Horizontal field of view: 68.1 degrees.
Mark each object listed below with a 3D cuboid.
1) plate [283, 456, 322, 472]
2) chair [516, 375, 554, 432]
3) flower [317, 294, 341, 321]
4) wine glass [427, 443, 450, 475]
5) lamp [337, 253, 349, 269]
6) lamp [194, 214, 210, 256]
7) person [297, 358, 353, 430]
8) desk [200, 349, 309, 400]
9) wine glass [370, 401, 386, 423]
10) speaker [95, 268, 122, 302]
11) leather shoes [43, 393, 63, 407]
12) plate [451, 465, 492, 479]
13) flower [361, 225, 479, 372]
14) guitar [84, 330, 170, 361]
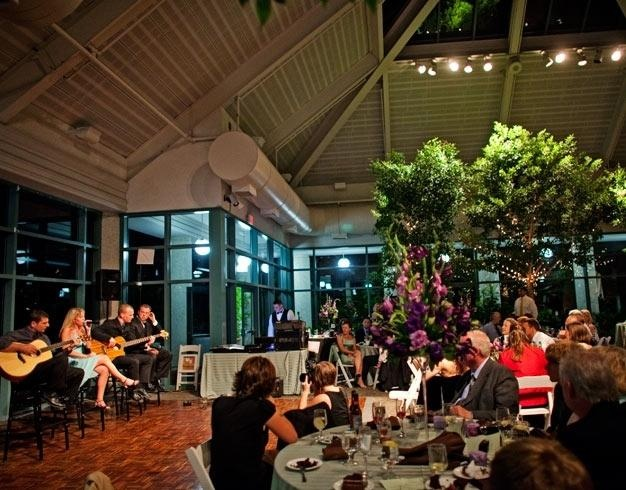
[{"bbox_3d":[-0.063,1.273,2.722,0.214,0.053,0.205,-13,-15,40],"label":"plate"},{"bbox_3d":[2.182,1.589,4.590,0.387,0.551,0.381,0,-9,25],"label":"chair"},{"bbox_3d":[0.502,2.046,14.890,0.396,0.650,0.753,-6,19,-8],"label":"flower"},{"bbox_3d":[0.665,1.139,2.488,0.093,0.159,0.174,-5,-11,12],"label":"wine glass"},{"bbox_3d":[1.087,0.614,16.653,0.365,0.506,0.374,-1,-3,19],"label":"lamp"},{"bbox_3d":[-2.503,-0.222,10.378,0.427,0.940,0.170,-10,-13,34],"label":"lamp"},{"bbox_3d":[0.102,1.579,4.497,0.525,0.828,0.473,2,-8,-3],"label":"person"},{"bbox_3d":[-1.353,2.313,9.589,1.920,0.680,2.051,1,6,41],"label":"desk"},{"bbox_3d":[0.423,1.104,3.069,0.103,0.124,0.107,-3,-9,4],"label":"wine glass"},{"bbox_3d":[-4.350,0.949,9.943,0.464,0.796,0.465,-2,-37,-22],"label":"speaker"},{"bbox_3d":[-3.525,2.122,6.349,0.246,0.210,0.433,2,-13,-24],"label":"leather shoes"},{"bbox_3d":[0.832,1.197,2.462,0.182,0.045,0.178,-7,-12,17],"label":"plate"},{"bbox_3d":[0.630,0.302,2.890,0.619,0.819,0.334,-7,-12,20],"label":"flower"},{"bbox_3d":[-3.194,1.681,7.973,1.168,0.469,0.150,-13,-7,-45],"label":"guitar"}]
